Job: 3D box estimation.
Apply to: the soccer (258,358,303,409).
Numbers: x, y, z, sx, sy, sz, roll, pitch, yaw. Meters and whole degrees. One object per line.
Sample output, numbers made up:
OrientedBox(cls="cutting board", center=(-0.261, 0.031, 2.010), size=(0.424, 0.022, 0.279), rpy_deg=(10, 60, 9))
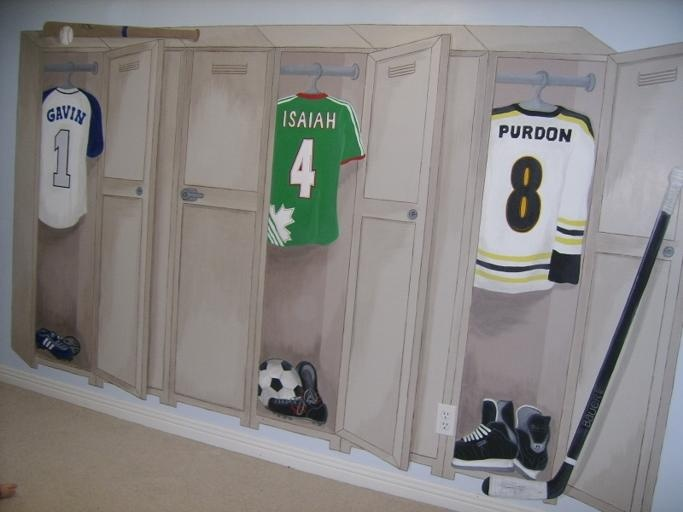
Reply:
OrientedBox(cls="soccer", center=(-0.360, 0.716, 3.597), size=(0.222, 0.271, 0.159), rpy_deg=(5, 10, 17))

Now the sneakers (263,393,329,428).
OrientedBox(cls="sneakers", center=(-0.258, 0.854, 3.602), size=(0.375, 0.162, 0.129), rpy_deg=(14, 2, 5))
